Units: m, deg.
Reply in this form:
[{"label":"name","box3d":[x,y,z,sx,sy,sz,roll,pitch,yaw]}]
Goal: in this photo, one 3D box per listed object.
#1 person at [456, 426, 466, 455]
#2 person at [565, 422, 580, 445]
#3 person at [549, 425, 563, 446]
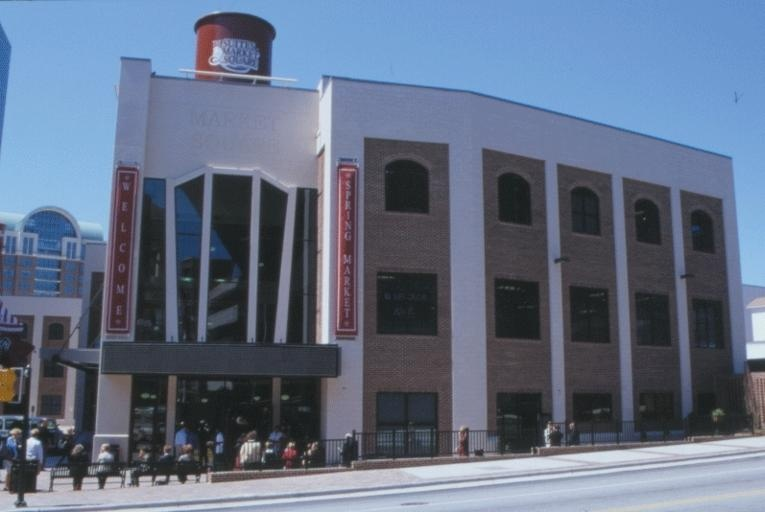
[{"label":"person","box3d":[4.178,9.703,41.902,0.463,1.488,0.580,-4,-14,14]},{"label":"person","box3d":[10.585,9.905,44.498,0.735,1.240,1.922,-3,-14,13]},{"label":"person","box3d":[9.392,9.779,43.564,0.593,1.207,0.967,-3,-14,11]}]
